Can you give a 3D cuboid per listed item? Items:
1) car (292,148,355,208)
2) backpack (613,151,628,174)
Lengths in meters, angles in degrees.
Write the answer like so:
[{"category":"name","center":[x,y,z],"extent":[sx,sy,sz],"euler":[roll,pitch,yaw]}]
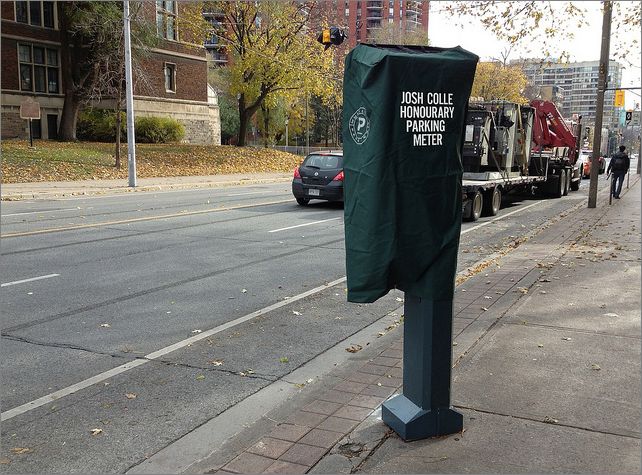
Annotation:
[{"category":"car","center":[-0.064,-1.910,18.472],"extent":[1.141,1.114,2.197],"euler":[4,17,18]},{"category":"backpack","center":[11.596,-2.859,22.457],"extent":[0.685,0.917,0.440],"euler":[7,11,36]}]
